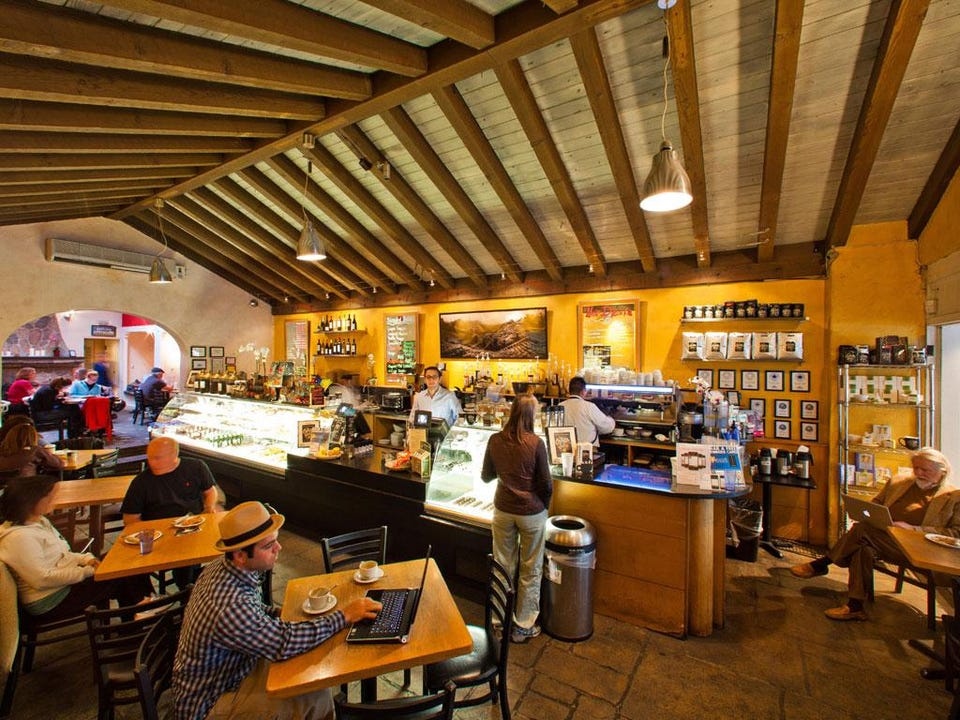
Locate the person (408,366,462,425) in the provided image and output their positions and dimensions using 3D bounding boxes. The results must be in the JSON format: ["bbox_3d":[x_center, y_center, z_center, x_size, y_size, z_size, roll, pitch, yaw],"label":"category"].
[{"bbox_3d":[-0.589,0.505,9.004,0.902,0.882,0.531,-1,-3,6],"label":"person"}]

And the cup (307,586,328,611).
[{"bbox_3d":[-1.194,1.784,4.850,0.132,0.089,0.148,2,-4,3],"label":"cup"}]

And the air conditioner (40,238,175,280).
[{"bbox_3d":[-6.028,-1.693,11.094,2.044,0.348,0.338,9,21,-15],"label":"air conditioner"}]

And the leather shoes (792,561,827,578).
[{"bbox_3d":[3.508,2.251,7.004,0.333,0.087,0.158,-1,-1,-1],"label":"leather shoes"}]

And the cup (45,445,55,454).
[{"bbox_3d":[-5.014,1.053,7.647,0.106,0.065,0.095,-1,5,-30],"label":"cup"}]

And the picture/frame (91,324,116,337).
[{"bbox_3d":[-9.206,-0.701,16.062,0.094,0.256,0.652,3,-3,20],"label":"picture/frame"}]

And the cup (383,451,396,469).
[{"bbox_3d":[-0.998,1.104,7.210,0.107,0.136,0.097,3,0,-13],"label":"cup"}]

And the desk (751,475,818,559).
[{"bbox_3d":[3.739,1.780,7.737,0.984,0.788,0.944,-1,-2,29],"label":"desk"}]

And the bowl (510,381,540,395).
[{"bbox_3d":[0.636,0.420,9.428,0.256,0.133,0.231,0,-7,1],"label":"bowl"}]

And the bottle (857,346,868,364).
[{"bbox_3d":[4.280,-0.048,7.310,0.152,0.196,0.093,4,-3,-8],"label":"bottle"}]

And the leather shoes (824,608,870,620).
[{"bbox_3d":[3.467,2.429,6.253,0.396,0.120,0.132,0,-7,7],"label":"leather shoes"}]

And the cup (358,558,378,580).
[{"bbox_3d":[-0.878,1.658,5.176,0.119,0.091,0.144,-1,-2,-28],"label":"cup"}]

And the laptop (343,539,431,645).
[{"bbox_3d":[-0.646,1.672,4.840,0.636,0.409,0.749,2,1,1],"label":"laptop"}]

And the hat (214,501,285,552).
[{"bbox_3d":[-1.656,1.178,4.675,0.481,0.154,0.391,-16,12,-9],"label":"hat"}]

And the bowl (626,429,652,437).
[{"bbox_3d":[1.860,0.868,7.749,0.315,0.104,0.083,0,-4,38],"label":"bowl"}]

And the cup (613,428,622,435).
[{"bbox_3d":[1.615,0.862,7.755,0.139,0.057,0.131,0,-3,0],"label":"cup"}]

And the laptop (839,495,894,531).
[{"bbox_3d":[3.606,1.452,6.136,0.272,0.234,0.383,3,-3,-31],"label":"laptop"}]

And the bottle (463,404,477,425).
[{"bbox_3d":[-0.116,0.626,7.323,0.129,0.181,0.219,4,6,37],"label":"bottle"}]

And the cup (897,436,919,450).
[{"bbox_3d":[4.680,0.927,7.201,0.125,0.108,0.174,4,-8,-42],"label":"cup"}]

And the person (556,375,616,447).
[{"bbox_3d":[1.202,0.573,7.385,0.546,0.705,0.833,3,-3,17],"label":"person"}]

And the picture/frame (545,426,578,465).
[{"bbox_3d":[0.809,0.877,6.543,0.448,0.447,0.050,-1,-8,7],"label":"picture/frame"}]

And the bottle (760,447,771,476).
[{"bbox_3d":[3.324,1.199,7.664,0.146,0.290,0.235,2,-3,23],"label":"bottle"}]
